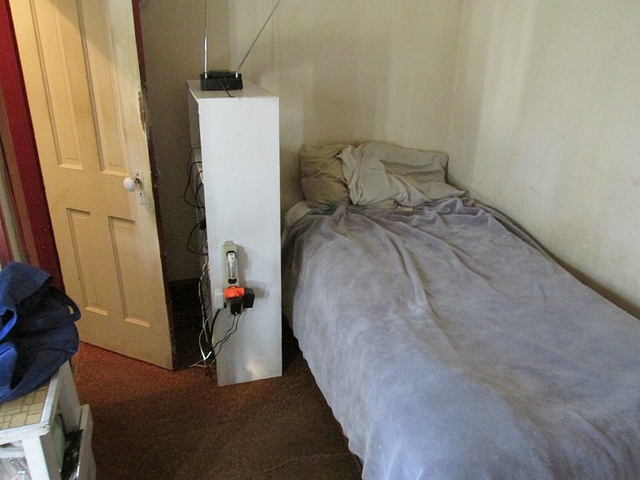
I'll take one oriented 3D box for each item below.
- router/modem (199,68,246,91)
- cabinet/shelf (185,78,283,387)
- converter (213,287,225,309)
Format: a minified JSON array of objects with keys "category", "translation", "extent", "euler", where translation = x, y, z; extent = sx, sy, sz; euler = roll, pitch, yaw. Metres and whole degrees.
[{"category":"router/modem","translation":[-0.472,-0.771,2.343],"extent":[0.193,0.084,0.146],"euler":[0,24,-1]},{"category":"cabinet/shelf","translation":[-0.420,-0.012,2.422],"extent":[0.358,1.476,1.272],"euler":[-1,22,-5]},{"category":"converter","translation":[-0.490,0.287,2.404],"extent":[0.074,0.108,0.076],"euler":[0,18,-7]}]
